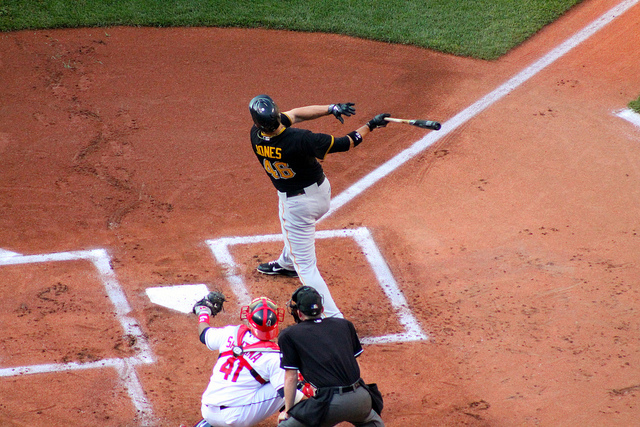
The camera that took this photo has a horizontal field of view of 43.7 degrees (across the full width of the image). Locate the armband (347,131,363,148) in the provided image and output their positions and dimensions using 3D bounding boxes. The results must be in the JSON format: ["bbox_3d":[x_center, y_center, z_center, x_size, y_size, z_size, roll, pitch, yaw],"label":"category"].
[{"bbox_3d":[0.497,-1.054,11.187,0.167,0.201,0.184,-12,65,-43],"label":"armband"}]

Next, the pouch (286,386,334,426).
[{"bbox_3d":[-0.043,2.473,10.125,0.586,0.385,0.375,-26,66,-22],"label":"pouch"}]

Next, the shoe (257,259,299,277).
[{"bbox_3d":[-0.714,0.843,12.457,0.730,0.236,0.235,11,97,-5],"label":"shoe"}]

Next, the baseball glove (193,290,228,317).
[{"bbox_3d":[-1.492,1.206,10.775,0.316,0.158,0.366,22,33,12],"label":"baseball glove"}]

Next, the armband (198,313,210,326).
[{"bbox_3d":[-1.586,1.417,10.679,0.165,0.147,0.138,-5,86,11],"label":"armband"}]

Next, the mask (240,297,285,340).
[{"bbox_3d":[-0.737,1.383,10.389,0.589,0.296,0.513,-4,72,-7],"label":"mask"}]

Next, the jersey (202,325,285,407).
[{"bbox_3d":[-1.005,2.014,10.419,1.025,0.604,0.967,2,58,-7],"label":"jersey"}]

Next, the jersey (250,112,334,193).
[{"bbox_3d":[-0.449,-0.758,11.151,1.068,0.874,0.641,14,59,0],"label":"jersey"}]

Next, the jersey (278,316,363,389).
[{"bbox_3d":[-0.021,1.787,10.187,0.973,0.398,0.859,-3,58,-11],"label":"jersey"}]
